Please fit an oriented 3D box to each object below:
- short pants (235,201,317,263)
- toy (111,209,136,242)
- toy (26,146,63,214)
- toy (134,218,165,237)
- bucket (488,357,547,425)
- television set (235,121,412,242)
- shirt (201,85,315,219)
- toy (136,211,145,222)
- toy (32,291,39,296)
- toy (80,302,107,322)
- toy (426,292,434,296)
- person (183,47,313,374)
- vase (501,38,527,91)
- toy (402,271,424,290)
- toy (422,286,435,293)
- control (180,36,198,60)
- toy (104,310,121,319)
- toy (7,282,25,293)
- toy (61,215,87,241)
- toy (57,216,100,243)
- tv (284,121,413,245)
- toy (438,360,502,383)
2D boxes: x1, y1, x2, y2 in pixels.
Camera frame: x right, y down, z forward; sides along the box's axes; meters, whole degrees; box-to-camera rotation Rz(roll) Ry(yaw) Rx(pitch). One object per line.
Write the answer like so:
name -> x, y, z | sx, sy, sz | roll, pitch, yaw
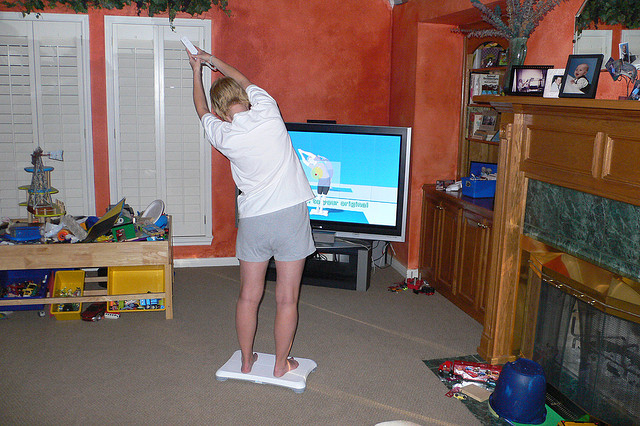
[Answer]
short pants -> -0.311, 0.127, 3.373 | 0.514, 0.367, 0.285 | 4, 16, 12
toy -> -1.681, 0.100, 4.279 | 0.223, 0.313, 0.230 | 1, 7, -6
toy -> -2.466, -0.282, 4.310 | 0.197, 0.559, 0.182 | -9, 16, -25
toy -> -1.513, 0.130, 4.389 | 0.212, 0.117, 0.212 | -12, 19, -35
bucket -> 1.288, 1.187, 3.325 | 0.368, 0.284, 0.363 | -3, 15, 1
television set -> 0.019, -0.356, 5.072 | 1.798, 1.203, 0.067 | 5, 19, 13
shirt -> -0.367, -0.339, 3.035 | 0.582, 0.900, 0.266 | -20, 15, 1
toy -> -1.644, 0.034, 4.535 | 0.065, 0.105, 0.110 | 1, 3, -7
toy -> -2.420, 0.685, 4.244 | 0.036, 0.012, 0.078 | -10, 18, -29
toy -> -1.979, 0.864, 4.407 | 0.202, 0.099, 0.224 | 2, 16, 13
toy -> 1.080, 0.790, 4.925 | 0.066, 0.020, 0.024 | -3, 15, -5
person -> -0.437, 0.050, 3.383 | 0.760, 2.232, 0.346 | 1, 15, 9
vase -> 1.508, -1.186, 3.788 | 0.091, 0.291, 0.096 | 6, 14, -2
toy -> 0.966, 0.691, 5.161 | 0.209, 0.090, 0.389 | 2, 16, 11
toy -> 1.079, 0.764, 4.968 | 0.119, 0.047, 0.088 | 1, 16, 9
control -> -0.865, -1.104, 3.335 | 0.079, 0.162, 0.040 | -42, 29, -21
toy -> -1.836, 0.891, 4.391 | 0.093, 0.032, 0.067 | 2, 7, 4
toy -> -2.635, 0.637, 4.309 | 0.076, 0.038, 0.105 | 2, 5, -14
toy -> -2.081, 0.123, 4.200 | 0.140, 0.241, 0.065 | -39, 6, -33
toy -> -2.079, 0.130, 4.278 | 0.304, 0.188, 0.107 | -33, 5, -16
tv -> 0.265, -0.303, 4.675 | 1.196, 0.991, 0.095 | 3, 9, 12
toy -> 1.111, 1.157, 3.717 | 0.458, 0.116, 0.178 | 7, 15, 14
